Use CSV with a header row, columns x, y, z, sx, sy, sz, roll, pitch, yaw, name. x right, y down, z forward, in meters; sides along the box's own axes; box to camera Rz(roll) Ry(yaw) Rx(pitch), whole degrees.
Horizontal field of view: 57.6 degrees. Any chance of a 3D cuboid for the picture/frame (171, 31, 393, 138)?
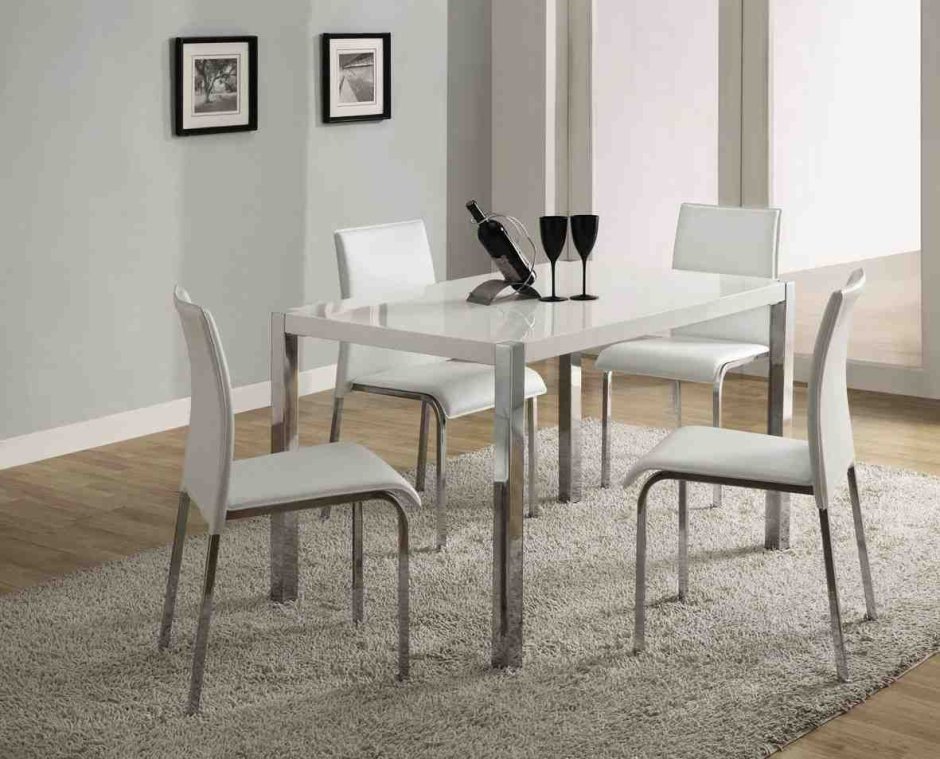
x,y,z,sx,sy,sz,roll,pitch,yaw,name
-0.925,-1.537,4.388,0.081,0.613,1.338,8,14,40,picture/frame
